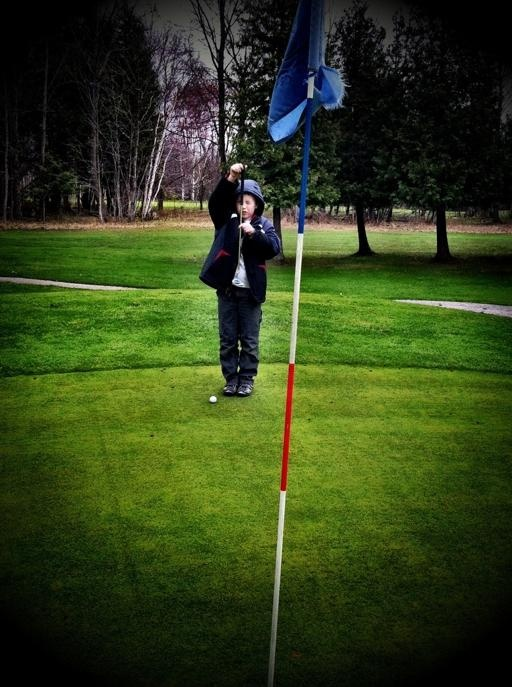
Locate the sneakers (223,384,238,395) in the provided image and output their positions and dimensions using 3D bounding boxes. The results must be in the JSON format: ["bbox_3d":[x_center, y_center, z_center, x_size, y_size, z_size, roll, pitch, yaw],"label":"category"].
[{"bbox_3d":[-0.227,0.403,5.203,0.123,0.086,0.147,0,7,-2],"label":"sneakers"}]

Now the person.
[{"bbox_3d":[-0.126,-0.456,5.103,0.664,1.828,0.604,-1,7,-12],"label":"person"}]
